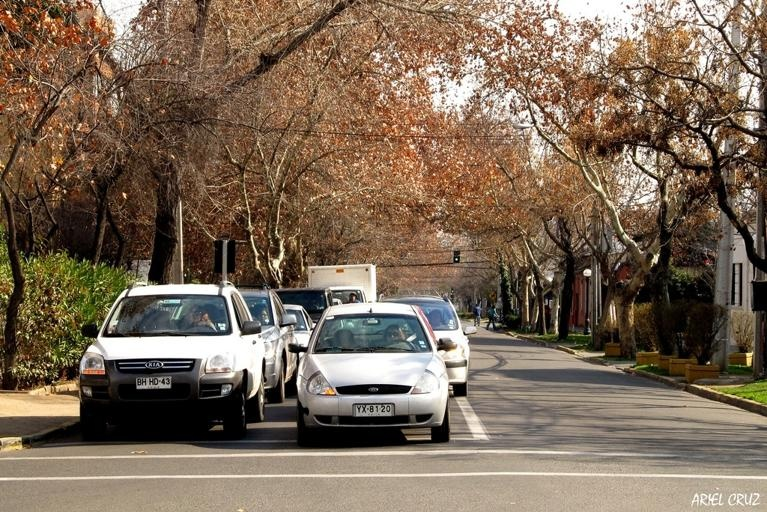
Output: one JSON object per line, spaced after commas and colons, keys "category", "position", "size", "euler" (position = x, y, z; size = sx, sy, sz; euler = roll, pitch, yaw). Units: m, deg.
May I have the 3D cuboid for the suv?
{"category": "suv", "position": [-3.953, 1.921, 16.875], "size": [3.316, 2.993, 1.699], "euler": [2, -8, -13]}

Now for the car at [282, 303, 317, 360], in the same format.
{"category": "car", "position": [-2.260, 1.837, 23.924], "size": [0.819, 0.884, 1.875], "euler": [0, -5, 2]}

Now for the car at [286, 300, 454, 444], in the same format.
{"category": "car", "position": [-0.197, 2.176, 16.542], "size": [2.734, 2.588, 1.850], "euler": [0, -8, 2]}

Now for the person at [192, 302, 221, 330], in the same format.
{"category": "person", "position": [-3.495, 1.179, 17.321], "size": [0.462, 0.889, 0.262], "euler": [-2, -43, -14]}
